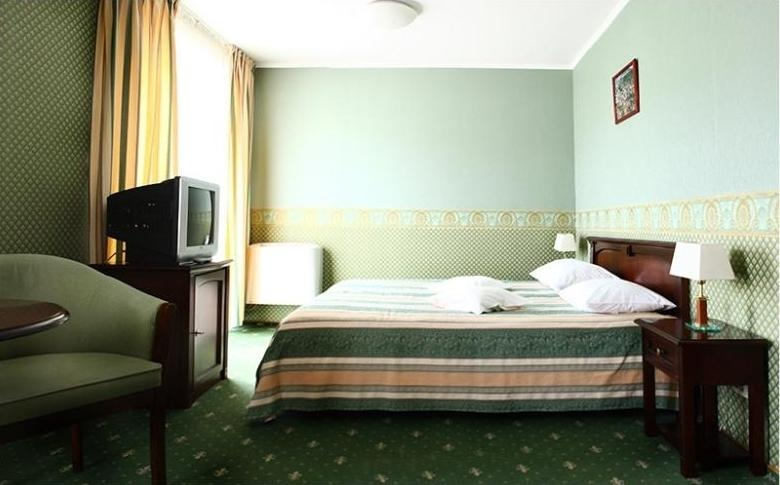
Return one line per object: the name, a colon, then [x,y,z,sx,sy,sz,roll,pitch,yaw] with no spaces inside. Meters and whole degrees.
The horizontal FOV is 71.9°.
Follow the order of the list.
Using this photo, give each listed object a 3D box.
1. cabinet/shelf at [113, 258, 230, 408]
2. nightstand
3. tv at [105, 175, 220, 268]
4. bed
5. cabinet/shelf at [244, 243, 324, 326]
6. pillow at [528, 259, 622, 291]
cabinet/shelf: [-2.032,0.776,4.904,0.934,1.132,0.950,2,0,9]
nightstand: [2.380,1.138,4.106,0.808,1.030,0.601,-1,5,-2]
tv: [-2.043,-0.205,4.913,0.865,0.744,0.794,3,4,1]
bed: [0.499,0.887,4.638,2.444,0.856,1.992,2,1,8]
cabinet/shelf: [-1.286,0.417,7.026,1.073,0.829,0.565,0,-6,18]
pillow: [1.937,0.334,5.510,0.767,0.188,0.717,0,17,35]
